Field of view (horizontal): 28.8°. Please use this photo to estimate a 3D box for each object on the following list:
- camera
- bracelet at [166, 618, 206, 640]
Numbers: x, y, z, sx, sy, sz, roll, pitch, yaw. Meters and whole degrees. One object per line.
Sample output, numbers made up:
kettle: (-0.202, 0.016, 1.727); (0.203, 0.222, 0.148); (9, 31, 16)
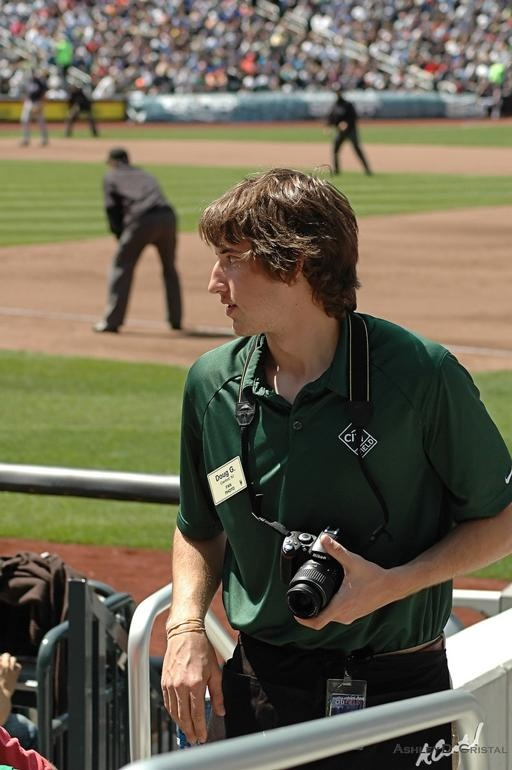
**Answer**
camera: (0.090, 0.261, 1.418); (0.130, 0.070, 0.118); (5, 40, 13)
bracelet: (-0.107, 0.386, 1.575); (0.043, 0.012, 0.043); (-14, -7, 40)
